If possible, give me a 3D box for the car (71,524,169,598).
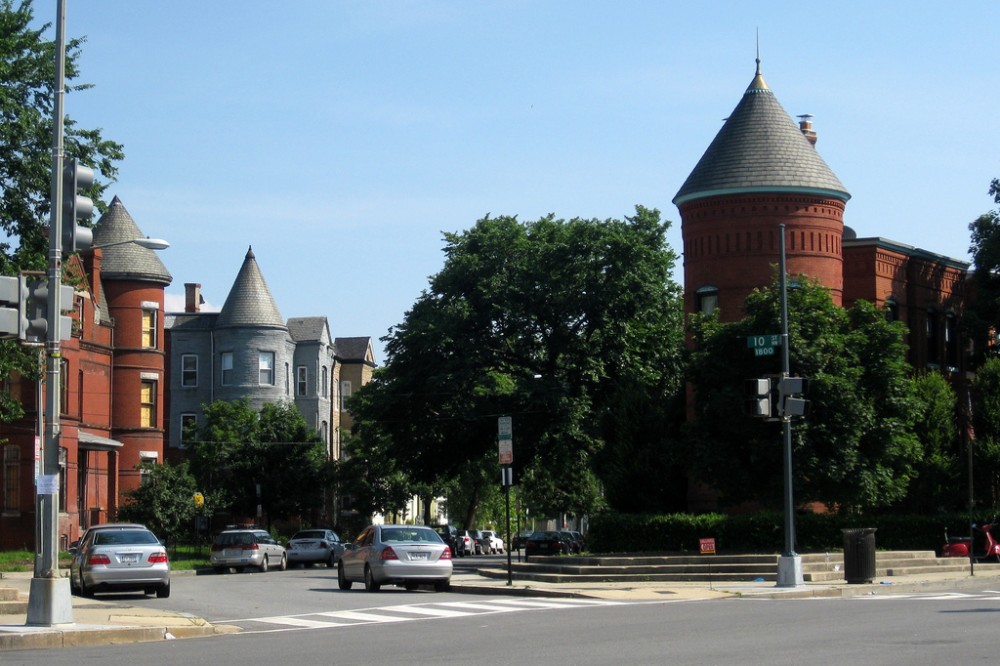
[{"bbox_3d":[-12.661,7.554,71.621,2.954,2.415,1.274,-1,-10,2],"label":"car"}]

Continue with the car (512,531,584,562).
[{"bbox_3d":[2.265,10.006,97.006,1.849,1.168,3.639,0,1,15],"label":"car"}]

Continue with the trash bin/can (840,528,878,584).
[{"bbox_3d":[12.452,7.887,75.892,1.764,2.333,1.815,-2,-5,13],"label":"trash bin/can"}]

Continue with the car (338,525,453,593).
[{"bbox_3d":[-3.757,7.733,73.826,4.154,2.291,2.901,-1,-10,5],"label":"car"}]
